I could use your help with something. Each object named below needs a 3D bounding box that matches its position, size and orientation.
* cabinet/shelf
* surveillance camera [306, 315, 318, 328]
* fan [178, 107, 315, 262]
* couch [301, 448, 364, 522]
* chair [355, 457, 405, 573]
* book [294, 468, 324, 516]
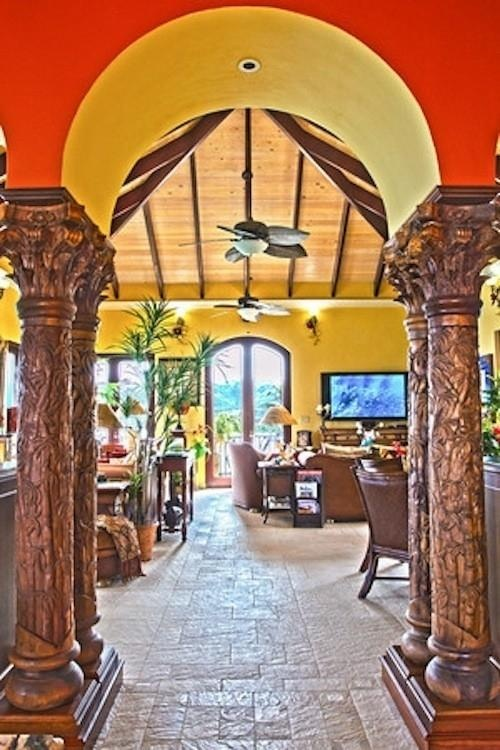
[{"bbox_3d":[-0.828,1.326,6.482,0.339,0.940,1.093,-1,-3,-3],"label":"cabinet/shelf"},{"bbox_3d":[1.070,-0.907,10.201,0.163,0.212,0.071,3,-8,-15],"label":"surveillance camera"},{"bbox_3d":[0.018,-1.519,5.466,1.097,0.714,1.047,-2,-4,36],"label":"fan"},{"bbox_3d":[1.209,1.351,7.168,0.779,0.790,0.714,-14,-11,14],"label":"couch"},{"bbox_3d":[0.960,1.089,4.450,0.365,0.835,0.813,-1,-3,10],"label":"chair"},{"bbox_3d":[0.661,1.353,6.673,0.301,0.516,0.184,0,-3,3],"label":"book"}]
